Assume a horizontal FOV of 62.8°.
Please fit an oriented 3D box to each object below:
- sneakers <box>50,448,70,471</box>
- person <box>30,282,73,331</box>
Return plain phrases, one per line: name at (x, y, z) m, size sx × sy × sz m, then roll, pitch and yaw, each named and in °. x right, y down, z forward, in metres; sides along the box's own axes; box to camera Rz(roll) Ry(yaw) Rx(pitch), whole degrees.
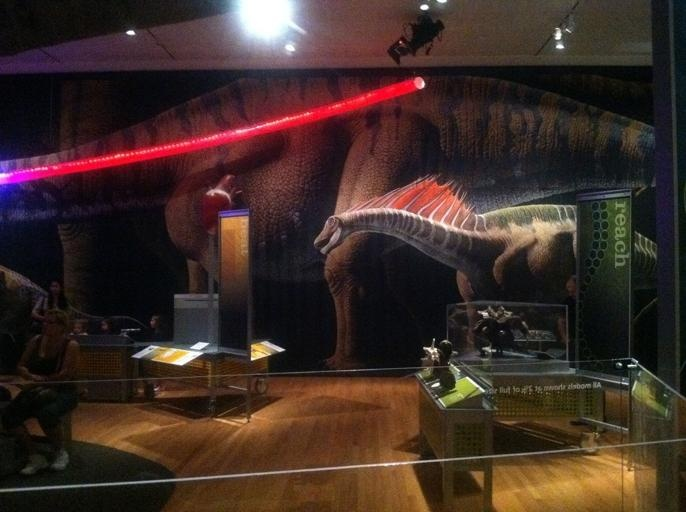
sneakers at (-2.041, 1.478, 4.067) m, size 0.125 × 0.121 × 0.049 m, roll 3°, pitch 1°, yaw -28°
person at (-3.905, 0.870, 7.502) m, size 0.449 × 0.962 × 0.303 m, roll 4°, pitch -18°, yaw -18°
